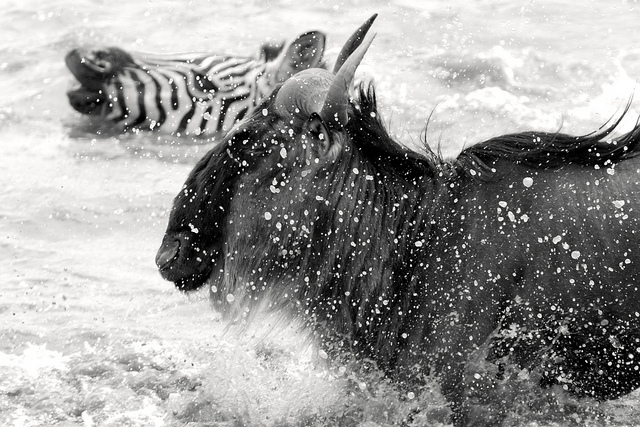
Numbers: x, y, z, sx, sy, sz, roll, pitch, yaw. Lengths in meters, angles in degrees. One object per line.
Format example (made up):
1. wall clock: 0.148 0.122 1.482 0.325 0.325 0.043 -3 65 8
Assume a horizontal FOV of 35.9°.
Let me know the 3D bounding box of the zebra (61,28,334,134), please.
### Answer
1. zebra: -1.850 -1.928 16.800 4.566 2.220 1.264 3 18 -37
